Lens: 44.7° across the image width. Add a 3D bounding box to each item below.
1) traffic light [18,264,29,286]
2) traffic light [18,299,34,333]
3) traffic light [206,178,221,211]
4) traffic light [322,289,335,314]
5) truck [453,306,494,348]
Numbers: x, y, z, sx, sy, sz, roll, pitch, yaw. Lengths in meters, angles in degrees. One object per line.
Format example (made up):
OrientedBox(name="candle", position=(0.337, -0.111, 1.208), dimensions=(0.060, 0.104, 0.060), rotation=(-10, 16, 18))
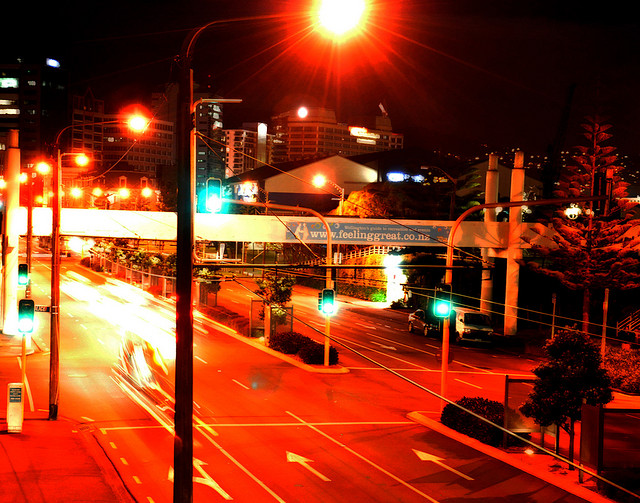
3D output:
OrientedBox(name="traffic light", position=(-17.168, 1.354, 44.931), dimensions=(0.588, 1.331, 1.944), rotation=(5, -2, -21))
OrientedBox(name="traffic light", position=(-11.646, 2.564, 30.670), dimensions=(0.550, 1.391, 0.726), rotation=(5, -1, -21))
OrientedBox(name="traffic light", position=(-6.216, -3.102, 45.545), dimensions=(1.008, 2.372, 0.717), rotation=(1, 12, -6))
OrientedBox(name="traffic light", position=(0.388, 2.400, 37.881), dimensions=(0.564, 1.076, 1.139), rotation=(4, -1, 0))
OrientedBox(name="truck", position=(10.404, 5.124, 53.633), dimensions=(2.437, 2.140, 4.092), rotation=(1, -5, -14))
